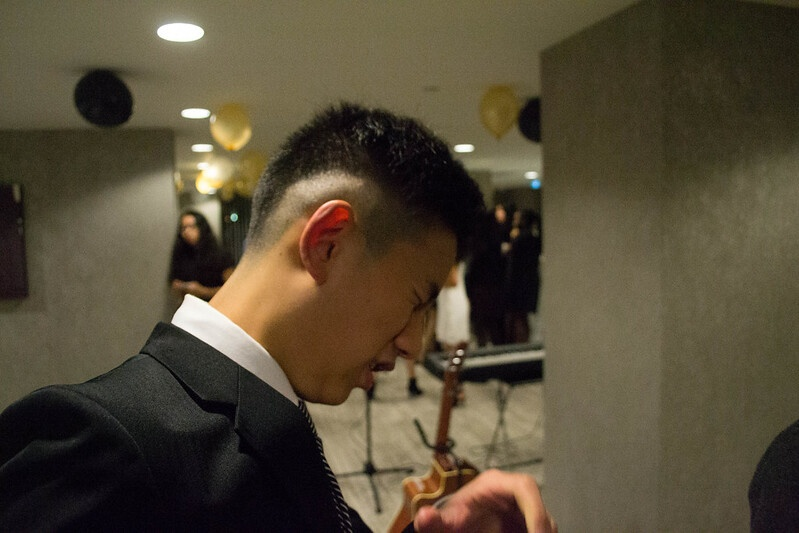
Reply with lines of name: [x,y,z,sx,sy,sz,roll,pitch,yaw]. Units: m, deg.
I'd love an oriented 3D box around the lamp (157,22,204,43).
lamp: [-0.595,-0.630,1.961,0.126,0.030,0.090,-1,0,-16]

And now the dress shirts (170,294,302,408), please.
dress shirts: [-0.290,0.130,1.241,0.212,0.051,0.156,39,-9,-10]
